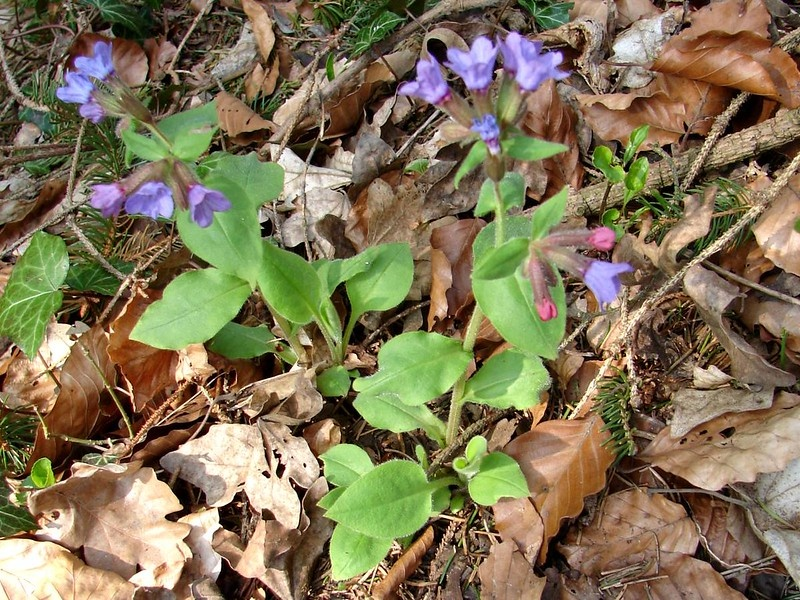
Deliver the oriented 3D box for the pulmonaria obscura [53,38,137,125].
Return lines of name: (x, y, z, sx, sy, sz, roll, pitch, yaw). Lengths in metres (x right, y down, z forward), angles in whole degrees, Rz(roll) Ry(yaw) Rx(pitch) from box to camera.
pulmonaria obscura: (-1.299, -0.943, 3.083, 0.337, 0.145, 0.404, -2, 84, 12)

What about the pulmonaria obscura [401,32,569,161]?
pulmonaria obscura: (0.294, -0.820, 2.815, 0.490, 0.488, 0.534, -26, 52, -14)

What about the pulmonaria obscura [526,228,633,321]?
pulmonaria obscura: (0.681, -0.144, 2.700, 0.357, 0.155, 0.389, 1, 86, 16)
